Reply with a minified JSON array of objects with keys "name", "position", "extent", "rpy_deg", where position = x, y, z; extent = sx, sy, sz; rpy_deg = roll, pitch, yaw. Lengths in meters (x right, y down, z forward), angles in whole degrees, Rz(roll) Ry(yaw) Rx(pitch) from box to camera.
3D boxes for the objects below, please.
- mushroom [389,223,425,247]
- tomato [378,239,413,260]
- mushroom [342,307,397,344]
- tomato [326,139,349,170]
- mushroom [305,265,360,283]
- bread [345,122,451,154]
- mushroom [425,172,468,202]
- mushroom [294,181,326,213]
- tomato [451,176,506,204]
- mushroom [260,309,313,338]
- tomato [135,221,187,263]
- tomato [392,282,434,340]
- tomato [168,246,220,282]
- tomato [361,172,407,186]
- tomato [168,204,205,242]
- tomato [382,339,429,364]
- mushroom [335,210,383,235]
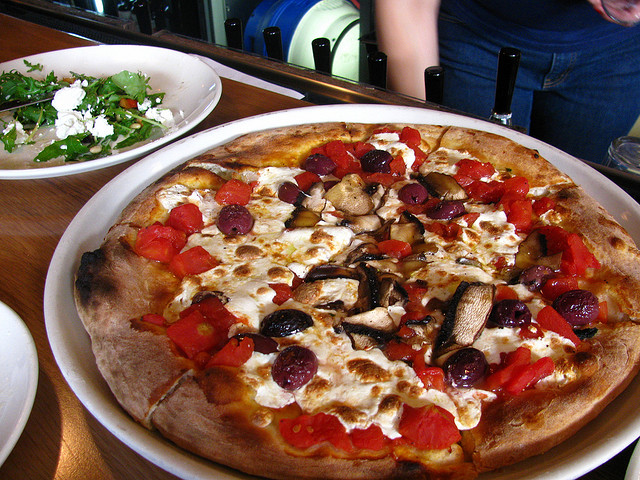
[{"name":"mushroom","position":[0.442,-0.020,2.662],"extent":[0.172,0.040,0.131],"rpy_deg":[8,33,9]},{"name":"tomato","position":[0.374,0.044,2.597],"extent":[0.141,0.038,0.098],"rpy_deg":[15,31,26]},{"name":"mushroom","position":[0.219,0.364,2.277],"extent":[0.221,0.167,0.047],"rpy_deg":[-8,53,1]},{"name":"tomato","position":[0.109,-0.503,3.085],"extent":[0.152,0.043,0.163],"rpy_deg":[-11,53,-5]},{"name":"mushroom","position":[0.056,0.158,2.500],"extent":[0.206,0.032,0.098],"rpy_deg":[5,17,0]},{"name":"bread","position":[0.475,-0.655,3.312],"extent":[0.586,0.051,0.232],"rpy_deg":[5,35,13]},{"name":"mushroom","position":[0.685,-0.291,2.860],"extent":[0.152,0.047,0.209],"rpy_deg":[-35,60,-19]},{"name":"mushroom","position":[-0.043,-0.239,2.890],"extent":[0.221,0.054,0.152],"rpy_deg":[11,75,10]},{"name":"tomato","position":[0.876,-0.281,2.898],"extent":[0.214,0.048,0.176],"rpy_deg":[-4,19,-25]},{"name":"mushroom","position":[-0.147,0.361,2.296],"extent":[0.224,0.054,0.106],"rpy_deg":[-5,38,-9]},{"name":"tomato","position":[-0.796,0.014,2.659],"extent":[0.249,0.060,0.208],"rpy_deg":[22,46,7]},{"name":"tomato","position":[0.406,0.304,2.303],"extent":[0.193,0.062,0.221],"rpy_deg":[17,60,11]},{"name":"tomato","position":[-0.619,0.094,2.624],"extent":[0.307,0.076,0.269],"rpy_deg":[-5,19,-8]},{"name":"tomato","position":[0.361,-0.347,3.006],"extent":[0.158,0.030,0.127],"rpy_deg":[10,14,-6]},{"name":"tomato","position":[-0.700,-0.092,2.713],"extent":[0.231,0.113,0.159],"rpy_deg":[3,57,-9]},{"name":"tomato","position":[0.356,0.473,2.220],"extent":[0.178,0.060,0.092],"rpy_deg":[9,41,8]},{"name":"mushroom","position":[0.207,-0.093,2.778],"extent":[0.214,0.039,0.112],"rpy_deg":[8,41,16]}]
